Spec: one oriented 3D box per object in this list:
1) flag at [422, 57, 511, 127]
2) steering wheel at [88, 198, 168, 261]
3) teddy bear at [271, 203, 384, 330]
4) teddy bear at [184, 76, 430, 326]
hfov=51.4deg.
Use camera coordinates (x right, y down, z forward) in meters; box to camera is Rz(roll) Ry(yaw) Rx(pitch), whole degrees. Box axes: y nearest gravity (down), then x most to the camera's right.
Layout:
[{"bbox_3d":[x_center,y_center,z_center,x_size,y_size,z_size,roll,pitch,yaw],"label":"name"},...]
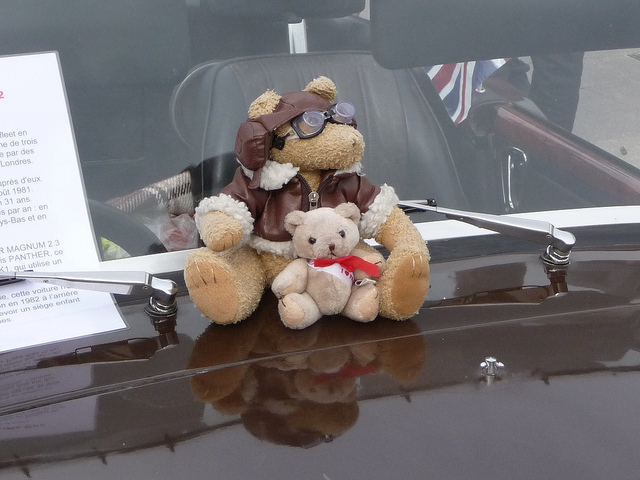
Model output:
[{"bbox_3d":[0.322,-0.353,1.492,0.133,0.165,0.145,-18,33,-18],"label":"flag"},{"bbox_3d":[-0.416,-0.030,1.463,0.131,0.122,0.140,-1,25,1],"label":"steering wheel"},{"bbox_3d":[0.007,0.057,1.313,0.206,0.202,0.119,-6,23,-13],"label":"teddy bear"},{"bbox_3d":[-0.042,-0.082,1.388,0.506,0.459,0.388,-6,27,-15],"label":"teddy bear"}]
